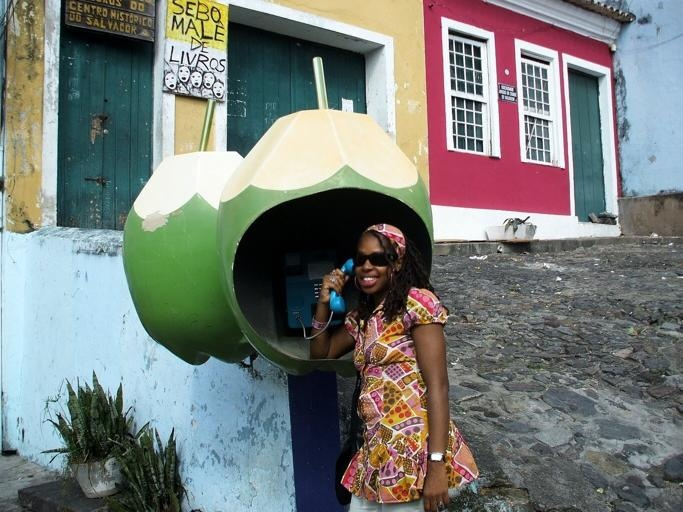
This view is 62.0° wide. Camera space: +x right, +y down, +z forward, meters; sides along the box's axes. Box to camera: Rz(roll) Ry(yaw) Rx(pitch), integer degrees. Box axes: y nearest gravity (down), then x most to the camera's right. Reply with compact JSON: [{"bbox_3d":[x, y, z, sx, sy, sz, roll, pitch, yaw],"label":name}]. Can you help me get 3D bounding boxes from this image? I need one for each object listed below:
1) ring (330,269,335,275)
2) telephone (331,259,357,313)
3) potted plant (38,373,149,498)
[{"bbox_3d":[-0.052,0.083,3.086,0.035,0.031,0.012,6,-8,-38],"label":"ring"},{"bbox_3d":[-0.008,0.178,2.987,0.069,0.088,0.312,-8,34,19],"label":"telephone"},{"bbox_3d":[-1.987,1.344,4.788,0.716,1.062,0.915,-4,0,19],"label":"potted plant"}]
